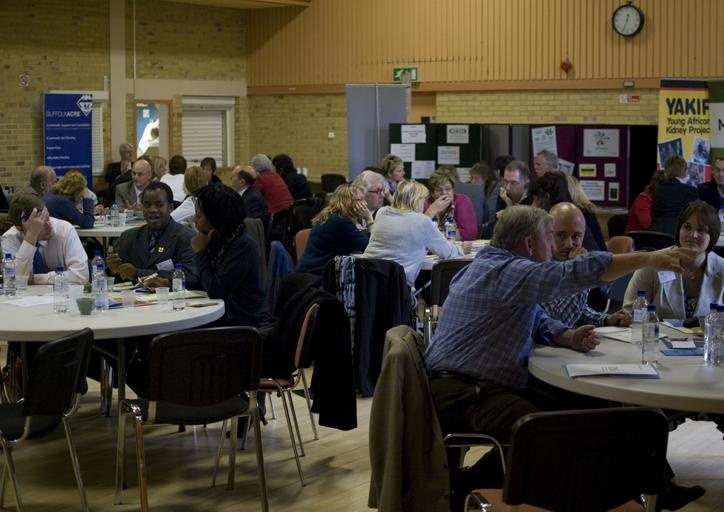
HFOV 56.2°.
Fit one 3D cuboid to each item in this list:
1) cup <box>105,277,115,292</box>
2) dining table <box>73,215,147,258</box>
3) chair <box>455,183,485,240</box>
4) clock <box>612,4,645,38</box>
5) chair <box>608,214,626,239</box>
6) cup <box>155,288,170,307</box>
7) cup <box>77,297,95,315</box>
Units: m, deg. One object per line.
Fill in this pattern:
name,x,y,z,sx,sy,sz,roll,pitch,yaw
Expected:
cup,-1.619,0.180,4.370,0.086,0.076,0.090,2,9,0
dining table,-2.868,-0.291,7.868,0.724,0.495,0.768,0,1,21
chair,1.316,-0.614,8.071,0.434,0.706,0.544,-1,3,4
clock,4.483,-4.011,11.434,0.530,0.640,0.153,-1,-2,29
chair,2.781,-0.330,7.429,0.221,0.312,0.261,1,2,22
cup,-1.229,0.248,4.197,0.091,0.107,0.096,0,-7,0
cup,-1.569,0.286,3.876,0.087,0.080,0.094,2,-6,0
